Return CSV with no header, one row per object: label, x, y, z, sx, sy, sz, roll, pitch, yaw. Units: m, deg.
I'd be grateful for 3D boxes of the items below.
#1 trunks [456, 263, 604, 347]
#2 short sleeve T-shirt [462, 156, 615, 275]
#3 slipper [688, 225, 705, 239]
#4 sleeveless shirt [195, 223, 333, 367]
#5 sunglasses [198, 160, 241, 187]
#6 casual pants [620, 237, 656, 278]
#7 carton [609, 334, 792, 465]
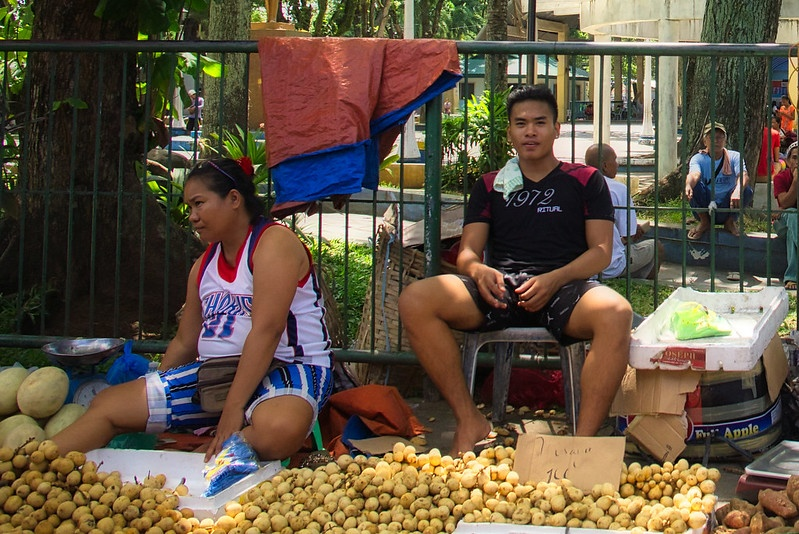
trunks,0.900,0.176,4.727,0.869,0.431,0.546,5,26,25
short sleeve T-shirt,0.936,-0.307,4.993,0.995,0.866,0.535,-1,-6,23
slipper,4.073,-0.466,10.129,0.123,0.177,0.359,2,-3,43
sleeveless shirt,-0.888,0.146,4.854,0.861,1.027,0.857,-5,-4,-25
sunglasses,-1.097,-0.585,4.492,0.160,0.052,0.152,36,-4,-22
casual pants,2.409,-0.095,7.477,0.378,0.455,0.354,5,12,30
carton,2.152,0.685,4.940,1.228,0.795,0.914,-18,9,-35
